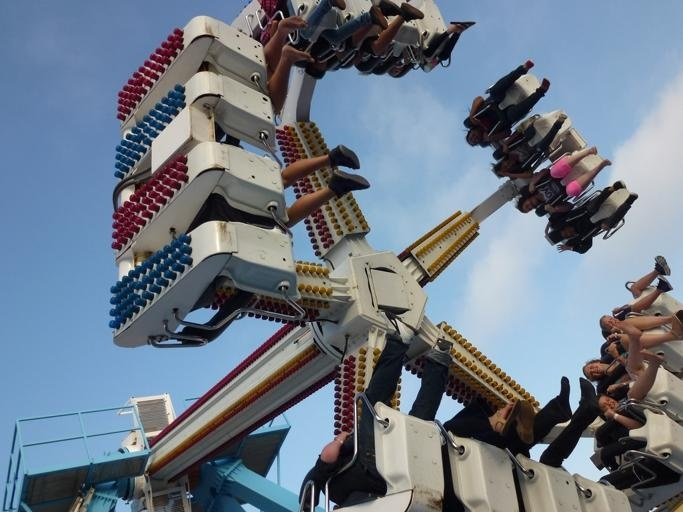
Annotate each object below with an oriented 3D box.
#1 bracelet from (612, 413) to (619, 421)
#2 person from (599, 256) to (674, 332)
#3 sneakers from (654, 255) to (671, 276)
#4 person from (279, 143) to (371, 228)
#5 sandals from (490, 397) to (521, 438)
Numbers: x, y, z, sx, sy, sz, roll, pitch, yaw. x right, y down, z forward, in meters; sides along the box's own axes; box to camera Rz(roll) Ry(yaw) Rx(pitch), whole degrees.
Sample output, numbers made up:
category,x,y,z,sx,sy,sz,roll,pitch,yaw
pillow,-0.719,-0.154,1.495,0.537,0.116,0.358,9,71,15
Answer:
category,x,y,z,sx,sy,sz,roll,pitch,yaw
bracelet,4.994,2.930,15.712,0.030,0.108,0.101,3,-2,-29
person,6.129,1.001,17.300,0.617,1.193,1.212,32,-58,-34
sneakers,5.960,0.207,16.057,0.138,0.412,0.272,-25,-11,-11
person,-0.263,-1.266,14.498,1.699,0.560,1.355,-33,-30,30
sandals,2.427,2.364,12.608,0.257,0.698,0.256,-4,-55,37
